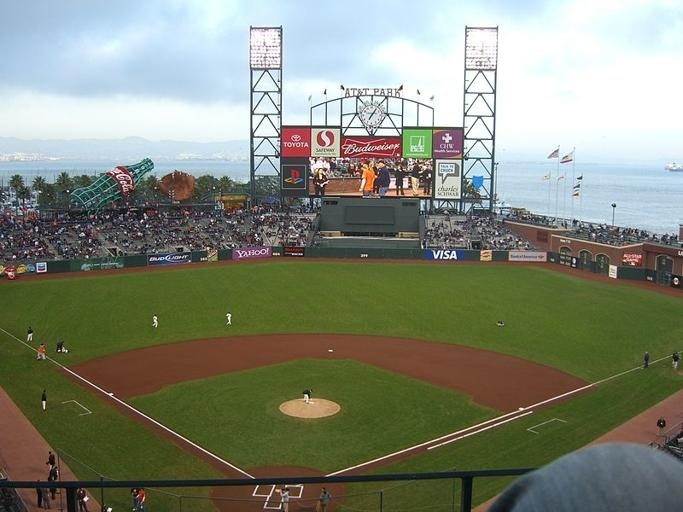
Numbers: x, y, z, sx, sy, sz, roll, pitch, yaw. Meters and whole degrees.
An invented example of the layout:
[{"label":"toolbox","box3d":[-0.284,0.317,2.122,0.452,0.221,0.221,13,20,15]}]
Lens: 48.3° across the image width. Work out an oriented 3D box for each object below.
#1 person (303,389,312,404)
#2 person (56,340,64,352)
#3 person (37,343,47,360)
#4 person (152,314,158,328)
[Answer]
[{"label":"person","box3d":[-1.925,7.905,43.649,0.466,0.710,1.189,0,13,-3]},{"label":"person","box3d":[-18.876,6.079,51.197,0.435,0.771,0.420,8,11,20]},{"label":"person","box3d":[-19.589,6.084,49.822,0.530,1.014,1.889,-5,14,-22]},{"label":"person","box3d":[-14.023,4.904,57.400,0.373,0.960,0.391,-17,29,-34]}]
